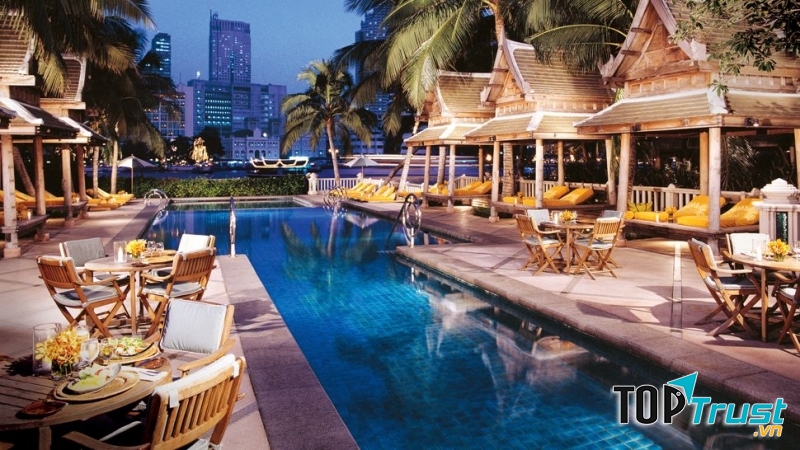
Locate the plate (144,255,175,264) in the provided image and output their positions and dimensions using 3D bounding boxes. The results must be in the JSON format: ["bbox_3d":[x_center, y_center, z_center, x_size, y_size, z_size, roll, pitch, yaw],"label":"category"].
[{"bbox_3d":[-4.736,0.670,10.185,0.497,0.060,0.605,-6,16,-29],"label":"plate"}]
